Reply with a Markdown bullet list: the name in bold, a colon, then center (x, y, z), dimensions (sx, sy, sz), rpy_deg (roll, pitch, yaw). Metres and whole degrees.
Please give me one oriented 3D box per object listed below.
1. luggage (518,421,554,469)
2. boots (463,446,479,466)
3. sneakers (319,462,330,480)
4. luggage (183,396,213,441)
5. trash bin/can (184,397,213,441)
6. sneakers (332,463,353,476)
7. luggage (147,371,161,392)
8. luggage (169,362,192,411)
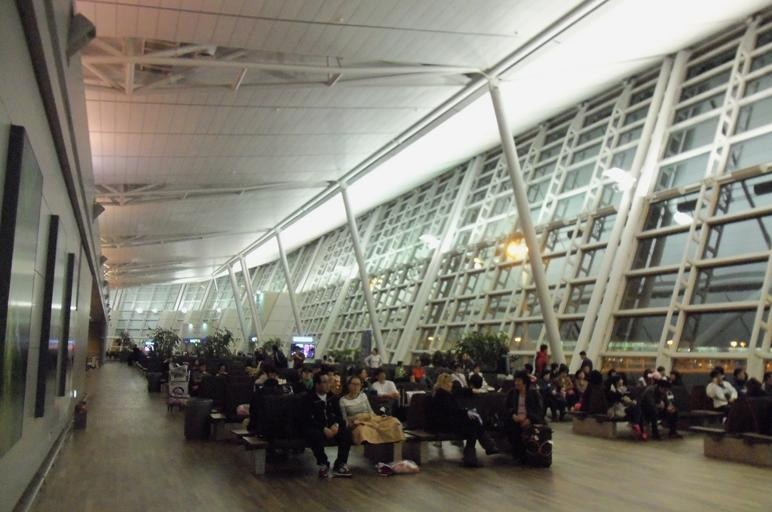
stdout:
- **luggage**: center (2.786, 3.423, 10.050), dimensions (0.592, 0.713, 0.723), rpy_deg (0, -2, 18)
- **boots**: center (1.515, 3.620, 9.838), dimensions (0.246, 0.328, 0.346), rpy_deg (2, -19, -5)
- **sneakers**: center (-1.022, 3.574, 9.050), dimensions (0.139, 0.142, 0.340), rpy_deg (2, -17, -8)
- **luggage**: center (-4.122, 3.583, 12.060), dimensions (0.753, 0.824, 0.746), rpy_deg (2, 1, 5)
- **trash bin/can**: center (-4.147, 3.644, 12.266), dimensions (0.689, 0.749, 0.678), rpy_deg (5, -16, -15)
- **sneakers**: center (-0.728, 3.585, 9.120), dimensions (0.376, 0.158, 0.136), rpy_deg (-2, -7, 11)
- **luggage**: center (-9.395, 5.141, 22.241), dimensions (0.490, 0.766, 0.513), rpy_deg (1, -1, -22)
- **luggage**: center (-6.665, 4.257, 18.031), dimensions (0.783, 1.280, 0.773), rpy_deg (-1, -6, -2)
